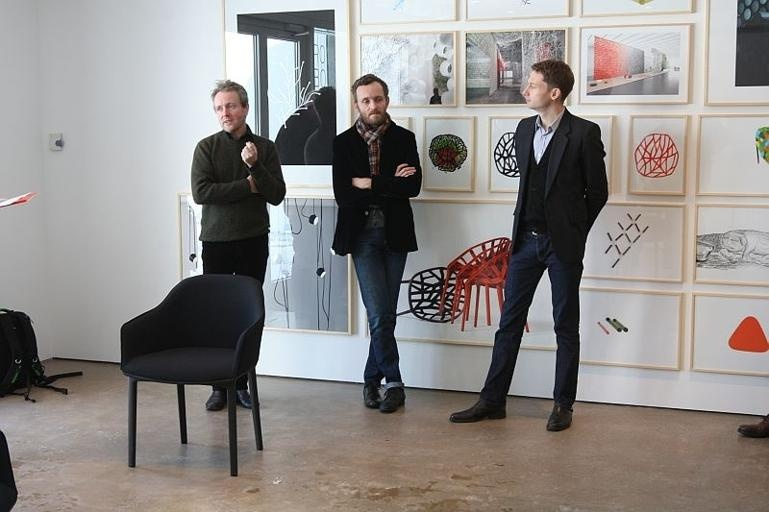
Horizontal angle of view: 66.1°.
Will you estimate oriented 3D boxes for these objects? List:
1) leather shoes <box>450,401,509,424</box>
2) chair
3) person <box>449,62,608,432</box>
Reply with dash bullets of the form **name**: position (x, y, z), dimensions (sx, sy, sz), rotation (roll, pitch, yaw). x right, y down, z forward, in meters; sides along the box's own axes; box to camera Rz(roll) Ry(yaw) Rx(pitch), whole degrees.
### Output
- **leather shoes**: position (0.682, 1.133, 4.350), dimensions (0.472, 0.182, 0.155), rotation (0, 0, -7)
- **chair**: position (-1.177, 0.708, 3.740), dimensions (0.817, 1.058, 0.810), rotation (1, 2, 2)
- **person**: position (1.108, -0.069, 4.112), dimensions (0.785, 2.515, 0.559), rotation (4, 13, 20)
